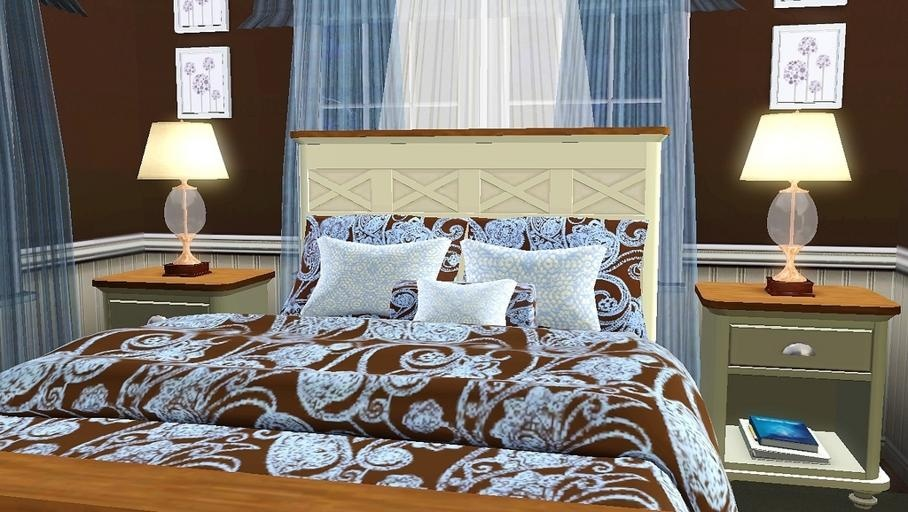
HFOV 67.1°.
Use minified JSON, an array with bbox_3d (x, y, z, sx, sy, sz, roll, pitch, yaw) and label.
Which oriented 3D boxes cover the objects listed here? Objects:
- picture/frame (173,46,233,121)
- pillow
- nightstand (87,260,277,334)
[{"bbox_3d":[-2.076,-1.453,5.690,0.739,0.746,0.063,0,2,4],"label":"picture/frame"},{"bbox_3d":[0.354,-0.092,4.630,2.448,0.826,0.186,-1,-29,7],"label":"pillow"},{"bbox_3d":[-2.070,0.244,5.288,0.929,0.773,0.637,0,2,7],"label":"nightstand"}]
